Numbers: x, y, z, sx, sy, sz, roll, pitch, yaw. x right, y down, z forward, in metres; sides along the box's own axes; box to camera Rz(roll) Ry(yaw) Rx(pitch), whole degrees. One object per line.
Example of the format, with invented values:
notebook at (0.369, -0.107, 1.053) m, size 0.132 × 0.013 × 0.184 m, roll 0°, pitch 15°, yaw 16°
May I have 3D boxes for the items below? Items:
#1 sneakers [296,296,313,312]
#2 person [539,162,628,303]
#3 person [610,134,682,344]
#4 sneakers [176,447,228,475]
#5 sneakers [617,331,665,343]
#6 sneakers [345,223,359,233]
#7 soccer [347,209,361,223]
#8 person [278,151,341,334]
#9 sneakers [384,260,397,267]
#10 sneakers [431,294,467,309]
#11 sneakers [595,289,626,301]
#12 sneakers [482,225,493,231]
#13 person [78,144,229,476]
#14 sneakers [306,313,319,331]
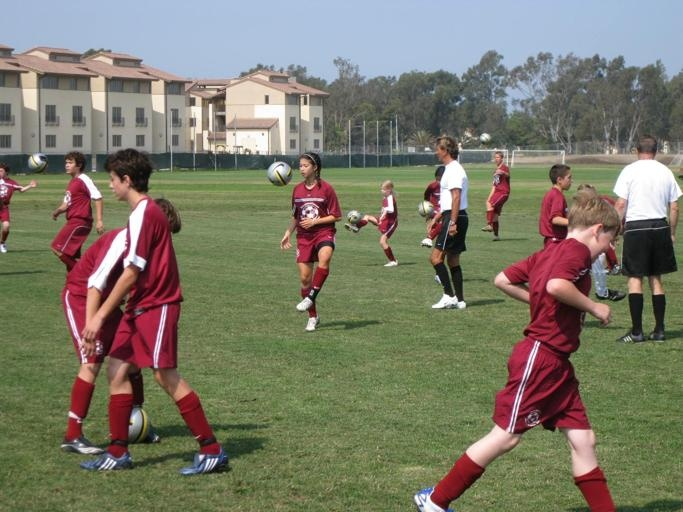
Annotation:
sneakers at (-0.443, 0.623, 9.698) m, size 0.110 × 0.132 × 0.300 m, roll 34°, pitch -27°, yaw 7°
person at (3.308, -0.275, 11.142) m, size 1.207 × 1.902 × 0.892 m, roll 1°, pitch 2°, yaw 13°
person at (3.558, -0.208, 9.375) m, size 0.763 × 2.350 × 1.440 m, roll 4°, pitch 11°, yaw 18°
sneakers at (-1.033, 1.522, 5.869) m, size 0.399 × 0.159 × 0.138 m, roll -7°, pitch 2°, yaw -16°
sneakers at (3.433, 0.948, 9.187) m, size 0.546 × 0.210 × 0.186 m, roll 1°, pitch -4°, yaw -12°
sneakers at (0.175, -0.554, 15.912) m, size 0.168 × 0.139 × 0.353 m, roll -14°, pitch 25°, yaw -35°
soccer at (0.232, -0.797, 16.267) m, size 0.285 × 0.219 × 0.227 m, roll -9°, pitch 43°, yaw 9°
person at (-0.361, -0.205, 9.936) m, size 0.711 × 2.131 × 1.052 m, roll -1°, pitch 11°, yaw -6°
sneakers at (0.881, 0.148, 14.701) m, size 0.260 × 0.109 × 0.096 m, roll 1°, pitch 6°, yaw 34°
sneakers at (1.471, 0.631, 10.933) m, size 0.498 × 0.211 × 0.174 m, roll 0°, pitch 0°, yaw -12°
sneakers at (3.931, 0.578, 11.747) m, size 0.511 × 0.221 × 0.177 m, roll -2°, pitch 7°, yaw -8°
sneakers at (3.724, -0.695, 20.419) m, size 0.298 × 0.121 × 0.104 m, roll 0°, pitch 0°, yaw 6°
person at (-1.373, 0.580, 5.862) m, size 1.053 × 2.009 × 0.373 m, roll 1°, pitch 11°, yaw 6°
sneakers at (-0.348, 0.801, 9.764) m, size 0.162 × 0.172 × 0.354 m, roll 0°, pitch 10°, yaw -2°
